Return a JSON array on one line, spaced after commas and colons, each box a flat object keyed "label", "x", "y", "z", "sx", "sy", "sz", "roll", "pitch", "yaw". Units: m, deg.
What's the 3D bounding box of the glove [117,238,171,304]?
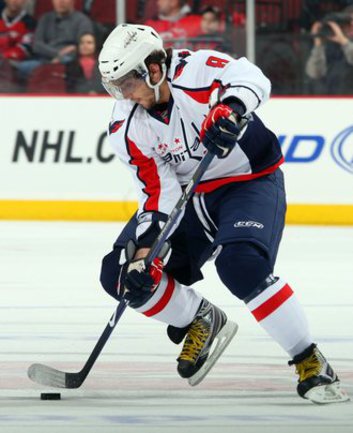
[{"label": "glove", "x": -0.105, "y": 0.167, "z": 1.705, "sx": 0.193, "sy": 0.190, "sz": 0.094, "roll": 18, "pitch": -3, "yaw": 12}]

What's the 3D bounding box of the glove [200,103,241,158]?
[{"label": "glove", "x": 0.127, "y": -0.249, "z": 1.533, "sx": 0.107, "sy": 0.143, "sz": 0.130, "roll": 9, "pitch": 32, "yaw": 2}]

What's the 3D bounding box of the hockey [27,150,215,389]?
[{"label": "hockey", "x": -0.186, "y": 0.173, "z": 1.629, "sx": 0.522, "sy": 0.778, "sz": 0.154, "roll": -24, "pitch": 46, "yaw": -39}]

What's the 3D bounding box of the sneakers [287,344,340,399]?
[{"label": "sneakers", "x": 0.444, "y": 0.448, "z": 1.568, "sx": 0.149, "sy": 0.073, "sz": 0.228, "roll": 42, "pitch": 8, "yaw": 26}]
